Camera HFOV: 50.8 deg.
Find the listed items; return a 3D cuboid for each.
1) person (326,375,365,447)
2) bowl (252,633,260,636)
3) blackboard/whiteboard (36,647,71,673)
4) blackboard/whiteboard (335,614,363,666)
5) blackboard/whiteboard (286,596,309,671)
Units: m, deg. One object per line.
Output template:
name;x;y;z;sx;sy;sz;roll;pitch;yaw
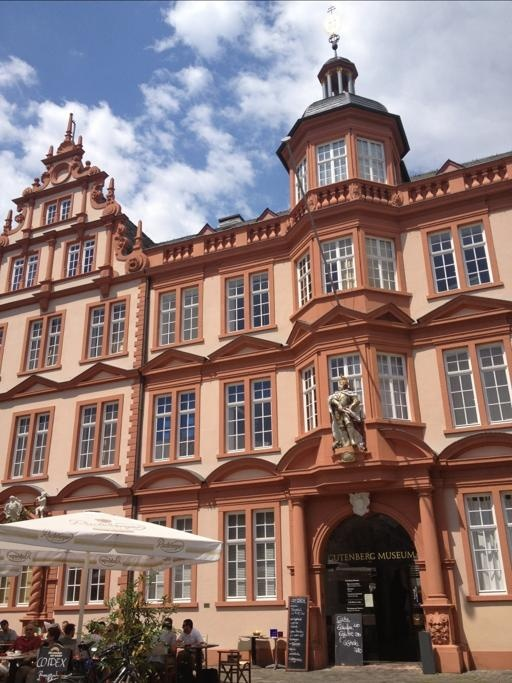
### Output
person;2.278;2.007;13.398;0.813;1.482;0.393;-4;-23;9
bowl;0.018;7.198;13.242;0.125;0.087;0.120;0;-21;0
blackboard/whiteboard;-2.342;3.700;6.246;0.442;0.354;0.056;-8;-44;5
blackboard/whiteboard;2.156;7.032;12.659;0.677;1.090;0.339;-6;-24;15
blackboard/whiteboard;0.961;6.824;12.591;0.499;1.482;0.513;-7;-24;16
